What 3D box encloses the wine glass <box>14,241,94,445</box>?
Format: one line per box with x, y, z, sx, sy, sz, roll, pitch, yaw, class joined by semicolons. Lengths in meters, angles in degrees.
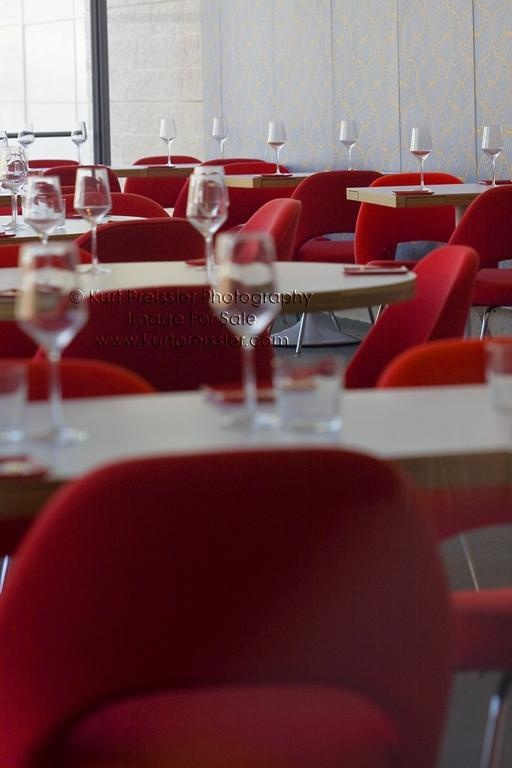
-0.265;-0.056;0.788;0.084;0.253;0.438;-3;14;-16;wine glass
